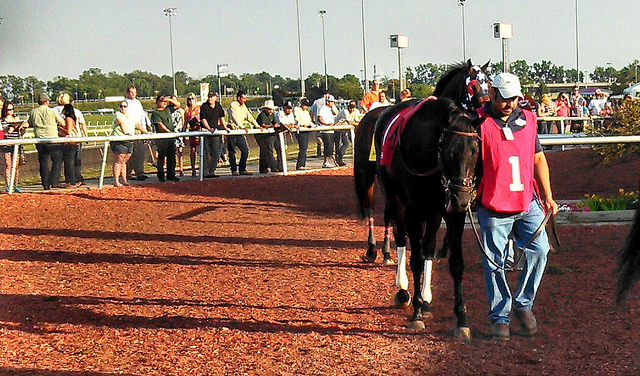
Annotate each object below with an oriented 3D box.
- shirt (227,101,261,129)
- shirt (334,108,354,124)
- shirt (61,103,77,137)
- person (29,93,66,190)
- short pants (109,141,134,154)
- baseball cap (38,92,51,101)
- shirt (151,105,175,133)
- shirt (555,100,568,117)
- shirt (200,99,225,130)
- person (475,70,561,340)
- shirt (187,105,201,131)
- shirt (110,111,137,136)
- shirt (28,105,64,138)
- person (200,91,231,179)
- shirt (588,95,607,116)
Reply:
[{"bbox_3d":[-1.938,-1.880,18.283,0.665,0.686,0.806,11,18,35],"label":"shirt"},{"bbox_3d":[0.734,-2.103,21.209,0.540,0.458,1.031,0,15,0],"label":"shirt"},{"bbox_3d":[-5.745,-1.540,16.608,0.302,0.861,0.251,7,45,-8],"label":"shirt"},{"bbox_3d":[-6.103,-1.050,16.344,0.706,2.125,0.933,-5,15,-21],"label":"person"},{"bbox_3d":[-4.508,-0.942,16.542,0.501,0.356,0.298,-4,15,-18],"label":"short pants"},{"bbox_3d":[-6.179,-2.050,16.248,0.159,0.115,0.221,0,19,1],"label":"baseball cap"},{"bbox_3d":[-3.791,-1.671,17.676,0.460,0.580,0.976,2,15,7],"label":"shirt"},{"bbox_3d":[7.713,-2.501,22.954,0.207,0.428,0.792,-2,48,9],"label":"shirt"},{"bbox_3d":[-2.634,-1.783,17.737,0.807,0.847,0.371,-3,6,-34],"label":"shirt"},{"bbox_3d":[2.482,0.222,9.311,0.999,3.319,0.910,2,14,9],"label":"person"},{"bbox_3d":[-3.144,-1.763,18.243,0.244,0.660,0.464,23,-34,-35],"label":"shirt"},{"bbox_3d":[-4.508,-1.503,16.758,0.570,0.544,0.932,-3,15,-14],"label":"shirt"},{"bbox_3d":[-6.172,-1.482,16.278,0.769,0.792,0.436,-2,13,-12],"label":"shirt"},{"bbox_3d":[-2.615,-1.270,17.979,0.657,2.161,1.317,-2,14,-9],"label":"person"},{"bbox_3d":[9.440,-2.812,24.586,0.549,0.533,1.689,6,16,20],"label":"shirt"}]
